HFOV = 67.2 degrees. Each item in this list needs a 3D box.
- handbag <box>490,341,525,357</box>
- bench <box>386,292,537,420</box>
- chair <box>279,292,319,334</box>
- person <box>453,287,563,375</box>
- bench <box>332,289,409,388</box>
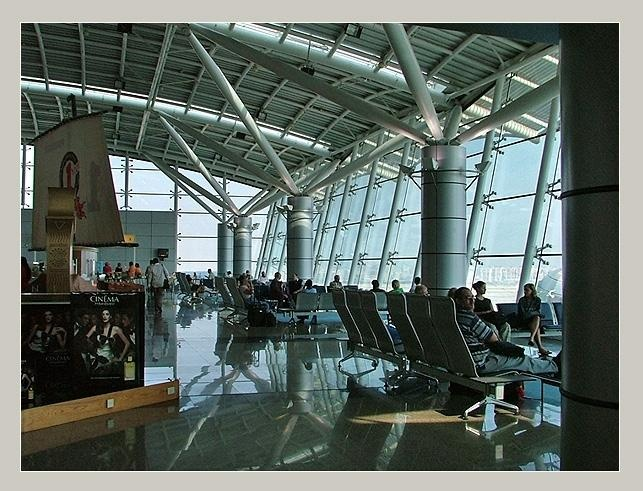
[{"bbox_3d":[2.315,1.303,6.058,0.362,0.124,0.194,7,-1,22],"label":"handbag"},{"bbox_3d":[2.110,1.294,6.590,0.950,1.289,2.849,-7,2,13],"label":"bench"},{"bbox_3d":[-0.504,1.741,13.421,0.919,0.874,1.102,4,-8,-15],"label":"chair"},{"bbox_3d":[2.280,1.153,6.213,1.549,1.023,0.625,8,-10,-23],"label":"person"},{"bbox_3d":[0.750,1.493,7.601,0.647,0.925,1.508,2,-5,-18],"label":"bench"}]
